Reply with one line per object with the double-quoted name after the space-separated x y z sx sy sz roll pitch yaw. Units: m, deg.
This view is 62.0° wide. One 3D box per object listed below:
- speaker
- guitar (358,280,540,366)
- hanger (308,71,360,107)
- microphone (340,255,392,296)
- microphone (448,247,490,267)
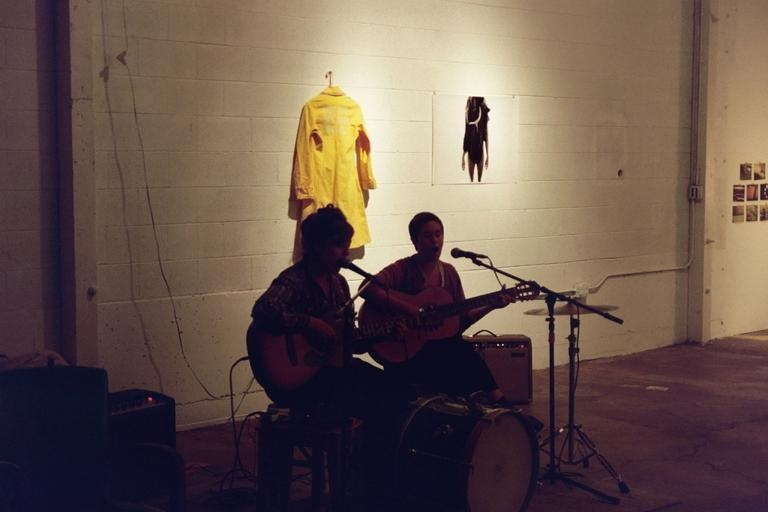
0.758 0.766 4.879 0.654 0.652 0.480 -1 -2 0 "speaker"
0.319 0.418 4.083 1.236 0.487 0.170 -14 -1 -8 "guitar"
-0.414 -1.280 4.967 0.442 0.281 0.043 -9 6 -32 "hanger"
-0.146 0.068 3.599 0.478 0.107 0.098 25 62 38 "microphone"
0.638 0.010 4.914 0.342 0.103 0.099 12 -16 -21 "microphone"
